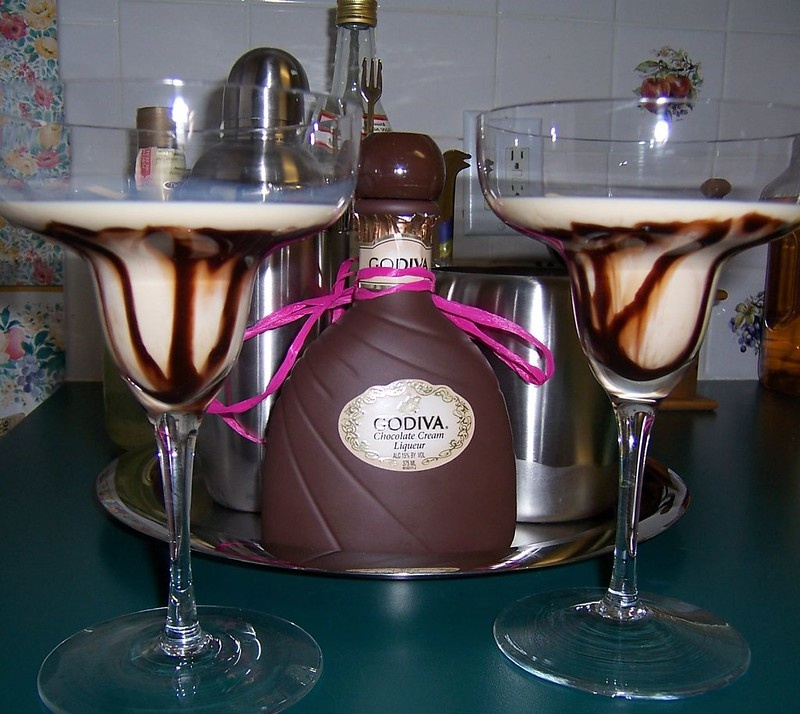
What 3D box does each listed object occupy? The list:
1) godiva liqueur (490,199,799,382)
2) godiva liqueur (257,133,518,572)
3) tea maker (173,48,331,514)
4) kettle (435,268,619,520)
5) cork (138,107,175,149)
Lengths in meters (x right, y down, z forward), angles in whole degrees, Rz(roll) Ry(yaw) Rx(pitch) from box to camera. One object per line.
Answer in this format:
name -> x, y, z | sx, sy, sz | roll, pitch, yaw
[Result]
godiva liqueur -> 0.133, -0.046, 0.463 | 0.129, 0.120, 0.103 | 1, 17, -5
godiva liqueur -> -0.027, -0.008, 0.527 | 0.168, 0.267, 0.167 | 1, 15, -15
tea maker -> -0.135, -0.053, 0.590 | 0.134, 0.359, 0.128 | 10, 15, 2
kettle -> 0.080, 0.029, 0.646 | 0.198, 0.183, 0.190 | 9, 17, 35
cork -> -0.114, -0.108, 0.352 | 0.017, 0.020, 0.024 | -3, 14, -17
